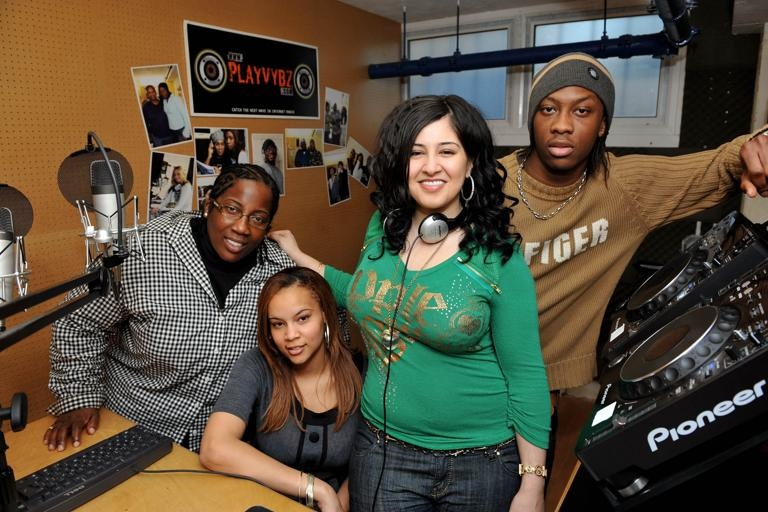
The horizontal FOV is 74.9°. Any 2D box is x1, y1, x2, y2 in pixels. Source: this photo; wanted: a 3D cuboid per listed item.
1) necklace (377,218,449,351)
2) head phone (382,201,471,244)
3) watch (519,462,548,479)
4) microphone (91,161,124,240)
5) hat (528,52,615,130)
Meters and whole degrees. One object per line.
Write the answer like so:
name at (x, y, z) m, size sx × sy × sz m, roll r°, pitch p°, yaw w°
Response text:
necklace at (0.128, 0.041, 1.809) m, size 0.127 × 0.562 × 0.159 m, roll 16°, pitch 2°, yaw -17°
head phone at (0.183, -0.139, 1.888) m, size 0.302 × 0.128 × 0.287 m, roll 3°, pitch 11°, yaw 43°
watch at (0.526, 0.744, 1.751) m, size 0.060 × 0.029 × 0.059 m, roll 3°, pitch -8°, yaw 3°
microphone at (-0.907, -0.194, 1.655) m, size 0.104 × 0.245 × 0.340 m, roll -9°, pitch 18°, yaw -27°
hat at (0.811, -0.706, 2.163) m, size 0.293 × 0.210 × 0.371 m, roll -9°, pitch -4°, yaw 18°
